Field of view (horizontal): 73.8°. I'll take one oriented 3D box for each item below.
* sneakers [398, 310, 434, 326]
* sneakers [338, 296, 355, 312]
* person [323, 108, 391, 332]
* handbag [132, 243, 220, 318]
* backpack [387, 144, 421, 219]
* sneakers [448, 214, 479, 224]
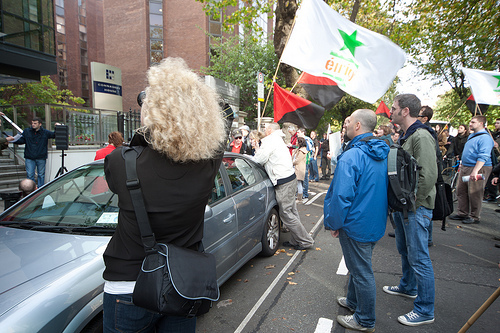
[{"bbox_3d":[2.048,1.901,4.197,0.462,0.189,0.175,1,-1,1],"label":"sneakers"},{"bbox_3d":[1.278,1.841,4.449,0.094,0.100,0.229,-13,33,-44],"label":"sneakers"},{"bbox_3d":[1.301,0.647,4.053,0.783,2.696,0.609,-4,9,-38],"label":"person"},{"bbox_3d":[-0.602,0.838,2.781,0.562,0.576,0.698,-7,-17,32],"label":"handbag"},{"bbox_3d":[1.848,0.186,4.022,0.459,0.864,0.277,-5,9,-41],"label":"backpack"},{"bbox_3d":[5.113,1.253,7.980,0.232,0.251,0.610,0,-2,-38],"label":"sneakers"}]
